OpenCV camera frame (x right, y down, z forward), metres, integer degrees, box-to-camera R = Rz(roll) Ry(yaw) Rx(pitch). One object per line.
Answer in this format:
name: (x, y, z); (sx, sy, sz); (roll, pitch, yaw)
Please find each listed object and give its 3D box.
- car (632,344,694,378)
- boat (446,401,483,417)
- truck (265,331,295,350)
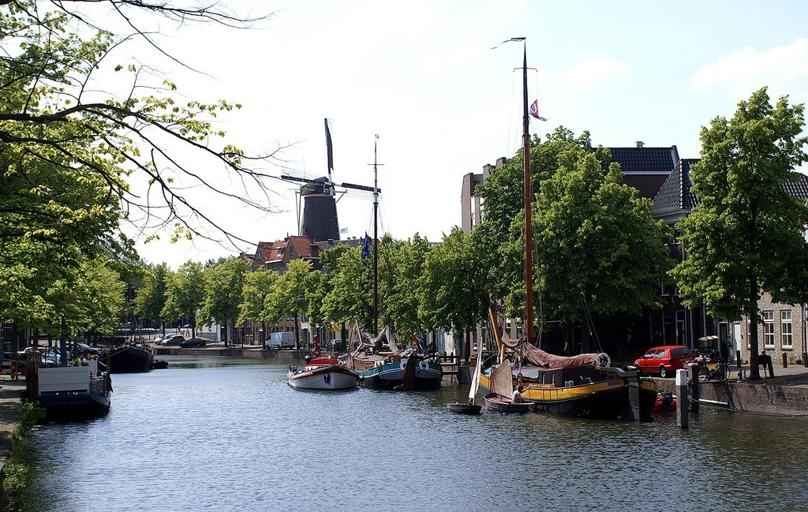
car: (16.251, 6.594, 61.814); (2.108, 1.824, 3.890); (1, -2, -3)
boat: (3.405, 8.811, 56.880); (1.508, 0.744, 2.811); (7, -13, -37)
truck: (-15.147, 10.504, 123.128); (1.804, 1.754, 3.304); (1, 1, -33)
